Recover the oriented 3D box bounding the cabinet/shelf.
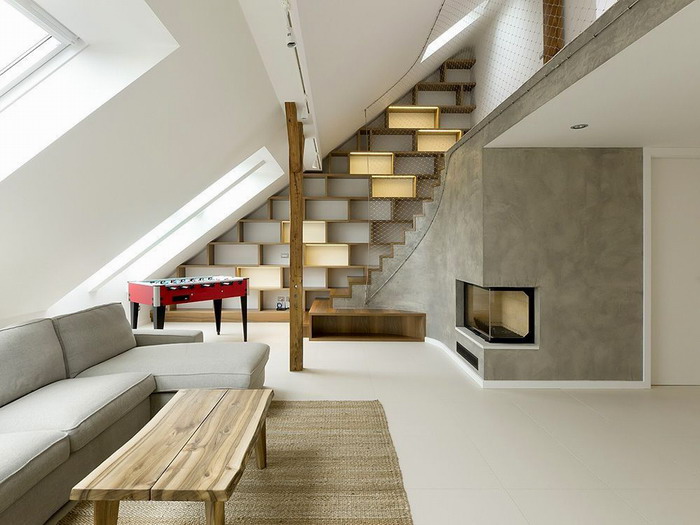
[{"bbox_3d":[-0.294,-1.222,8.551,4.544,4.339,1.218,1,8,6],"label":"cabinet/shelf"}]
